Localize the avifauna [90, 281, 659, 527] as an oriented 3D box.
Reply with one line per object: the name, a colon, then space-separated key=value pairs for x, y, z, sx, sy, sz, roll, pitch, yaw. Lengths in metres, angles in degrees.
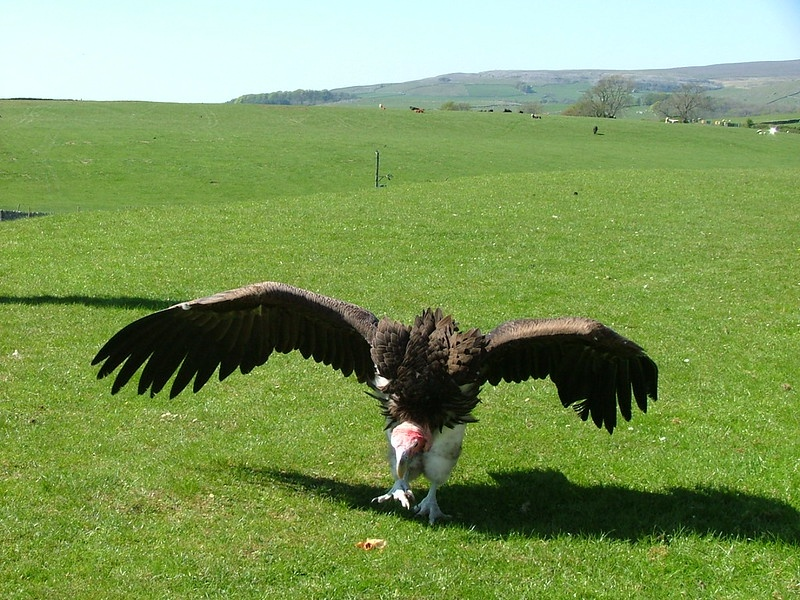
avifauna: x=-0.197 y=1.551 z=16.497 sx=8.065 sy=3.558 sz=1.683 roll=2 pitch=15 yaw=7
